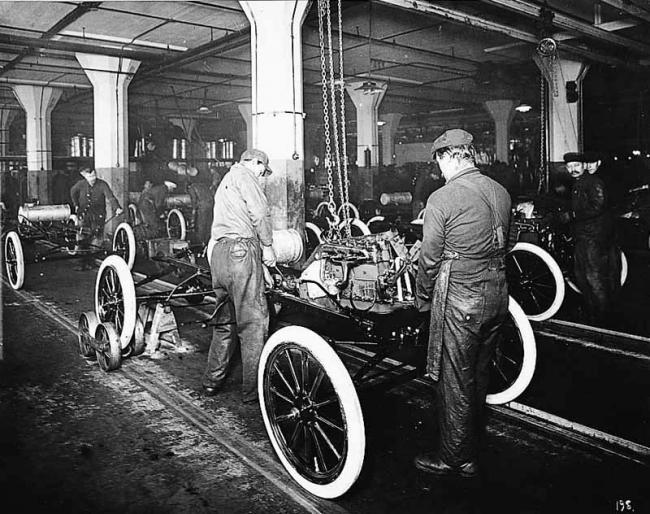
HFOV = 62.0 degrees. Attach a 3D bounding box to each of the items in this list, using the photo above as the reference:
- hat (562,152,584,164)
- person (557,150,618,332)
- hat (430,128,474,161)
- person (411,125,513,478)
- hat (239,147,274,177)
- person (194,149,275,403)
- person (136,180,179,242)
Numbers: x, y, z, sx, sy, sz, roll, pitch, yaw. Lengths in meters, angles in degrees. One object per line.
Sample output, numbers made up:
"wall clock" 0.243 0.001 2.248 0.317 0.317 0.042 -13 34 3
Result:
"hat" 3.250 -1.284 7.061 0.229 0.138 0.401 3 8 27
"person" 3.516 -0.291 7.114 0.741 2.102 0.388 1 6 16
"hat" 0.963 -0.878 4.151 0.206 0.231 0.276 -10 24 -32
"person" 1.037 0.503 4.082 0.694 2.243 0.349 0 5 4
"hat" -0.648 -0.947 5.430 0.383 0.251 0.273 2 8 -31
"person" -0.775 0.160 5.168 0.744 2.347 0.494 4 7 37
"person" -3.723 -1.030 11.923 0.701 1.212 0.965 -2 6 -18
